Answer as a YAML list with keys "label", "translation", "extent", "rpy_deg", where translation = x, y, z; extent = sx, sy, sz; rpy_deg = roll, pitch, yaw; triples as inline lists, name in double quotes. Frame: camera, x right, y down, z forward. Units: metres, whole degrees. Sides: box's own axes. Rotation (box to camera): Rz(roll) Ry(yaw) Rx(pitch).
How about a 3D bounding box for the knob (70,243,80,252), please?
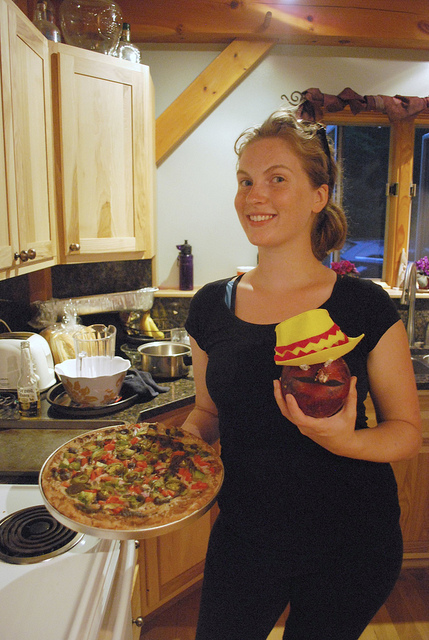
- label: "knob"
  translation: [-0.492, -0.257, 1.870]
  extent: [0.010, 0.026, 0.036]
  rpy_deg: [12, 14, 37]

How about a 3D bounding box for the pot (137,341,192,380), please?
- label: "pot"
  translation: [-0.191, 0.156, 2.053]
  extent: [0.199, 0.104, 0.205]
  rpy_deg: [3, 10, -1]

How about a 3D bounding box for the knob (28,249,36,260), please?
- label: "knob"
  translation: [-0.530, -0.191, 1.537]
  extent: [0.018, 0.024, 0.009]
  rpy_deg: [-12, 34, -44]

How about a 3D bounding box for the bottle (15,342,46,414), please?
- label: "bottle"
  translation: [-0.559, 0.169, 1.595]
  extent: [0.064, 0.226, 0.096]
  rpy_deg: [-1, 12, -20]

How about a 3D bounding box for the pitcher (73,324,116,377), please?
- label: "pitcher"
  translation: [-0.417, 0.138, 1.798]
  extent: [0.147, 0.164, 0.108]
  rpy_deg: [1, -12, -14]

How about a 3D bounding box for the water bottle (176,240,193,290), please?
- label: "water bottle"
  translation: [-0.152, -0.281, 2.720]
  extent: [0.091, 0.256, 0.106]
  rpy_deg: [3, 11, -2]
